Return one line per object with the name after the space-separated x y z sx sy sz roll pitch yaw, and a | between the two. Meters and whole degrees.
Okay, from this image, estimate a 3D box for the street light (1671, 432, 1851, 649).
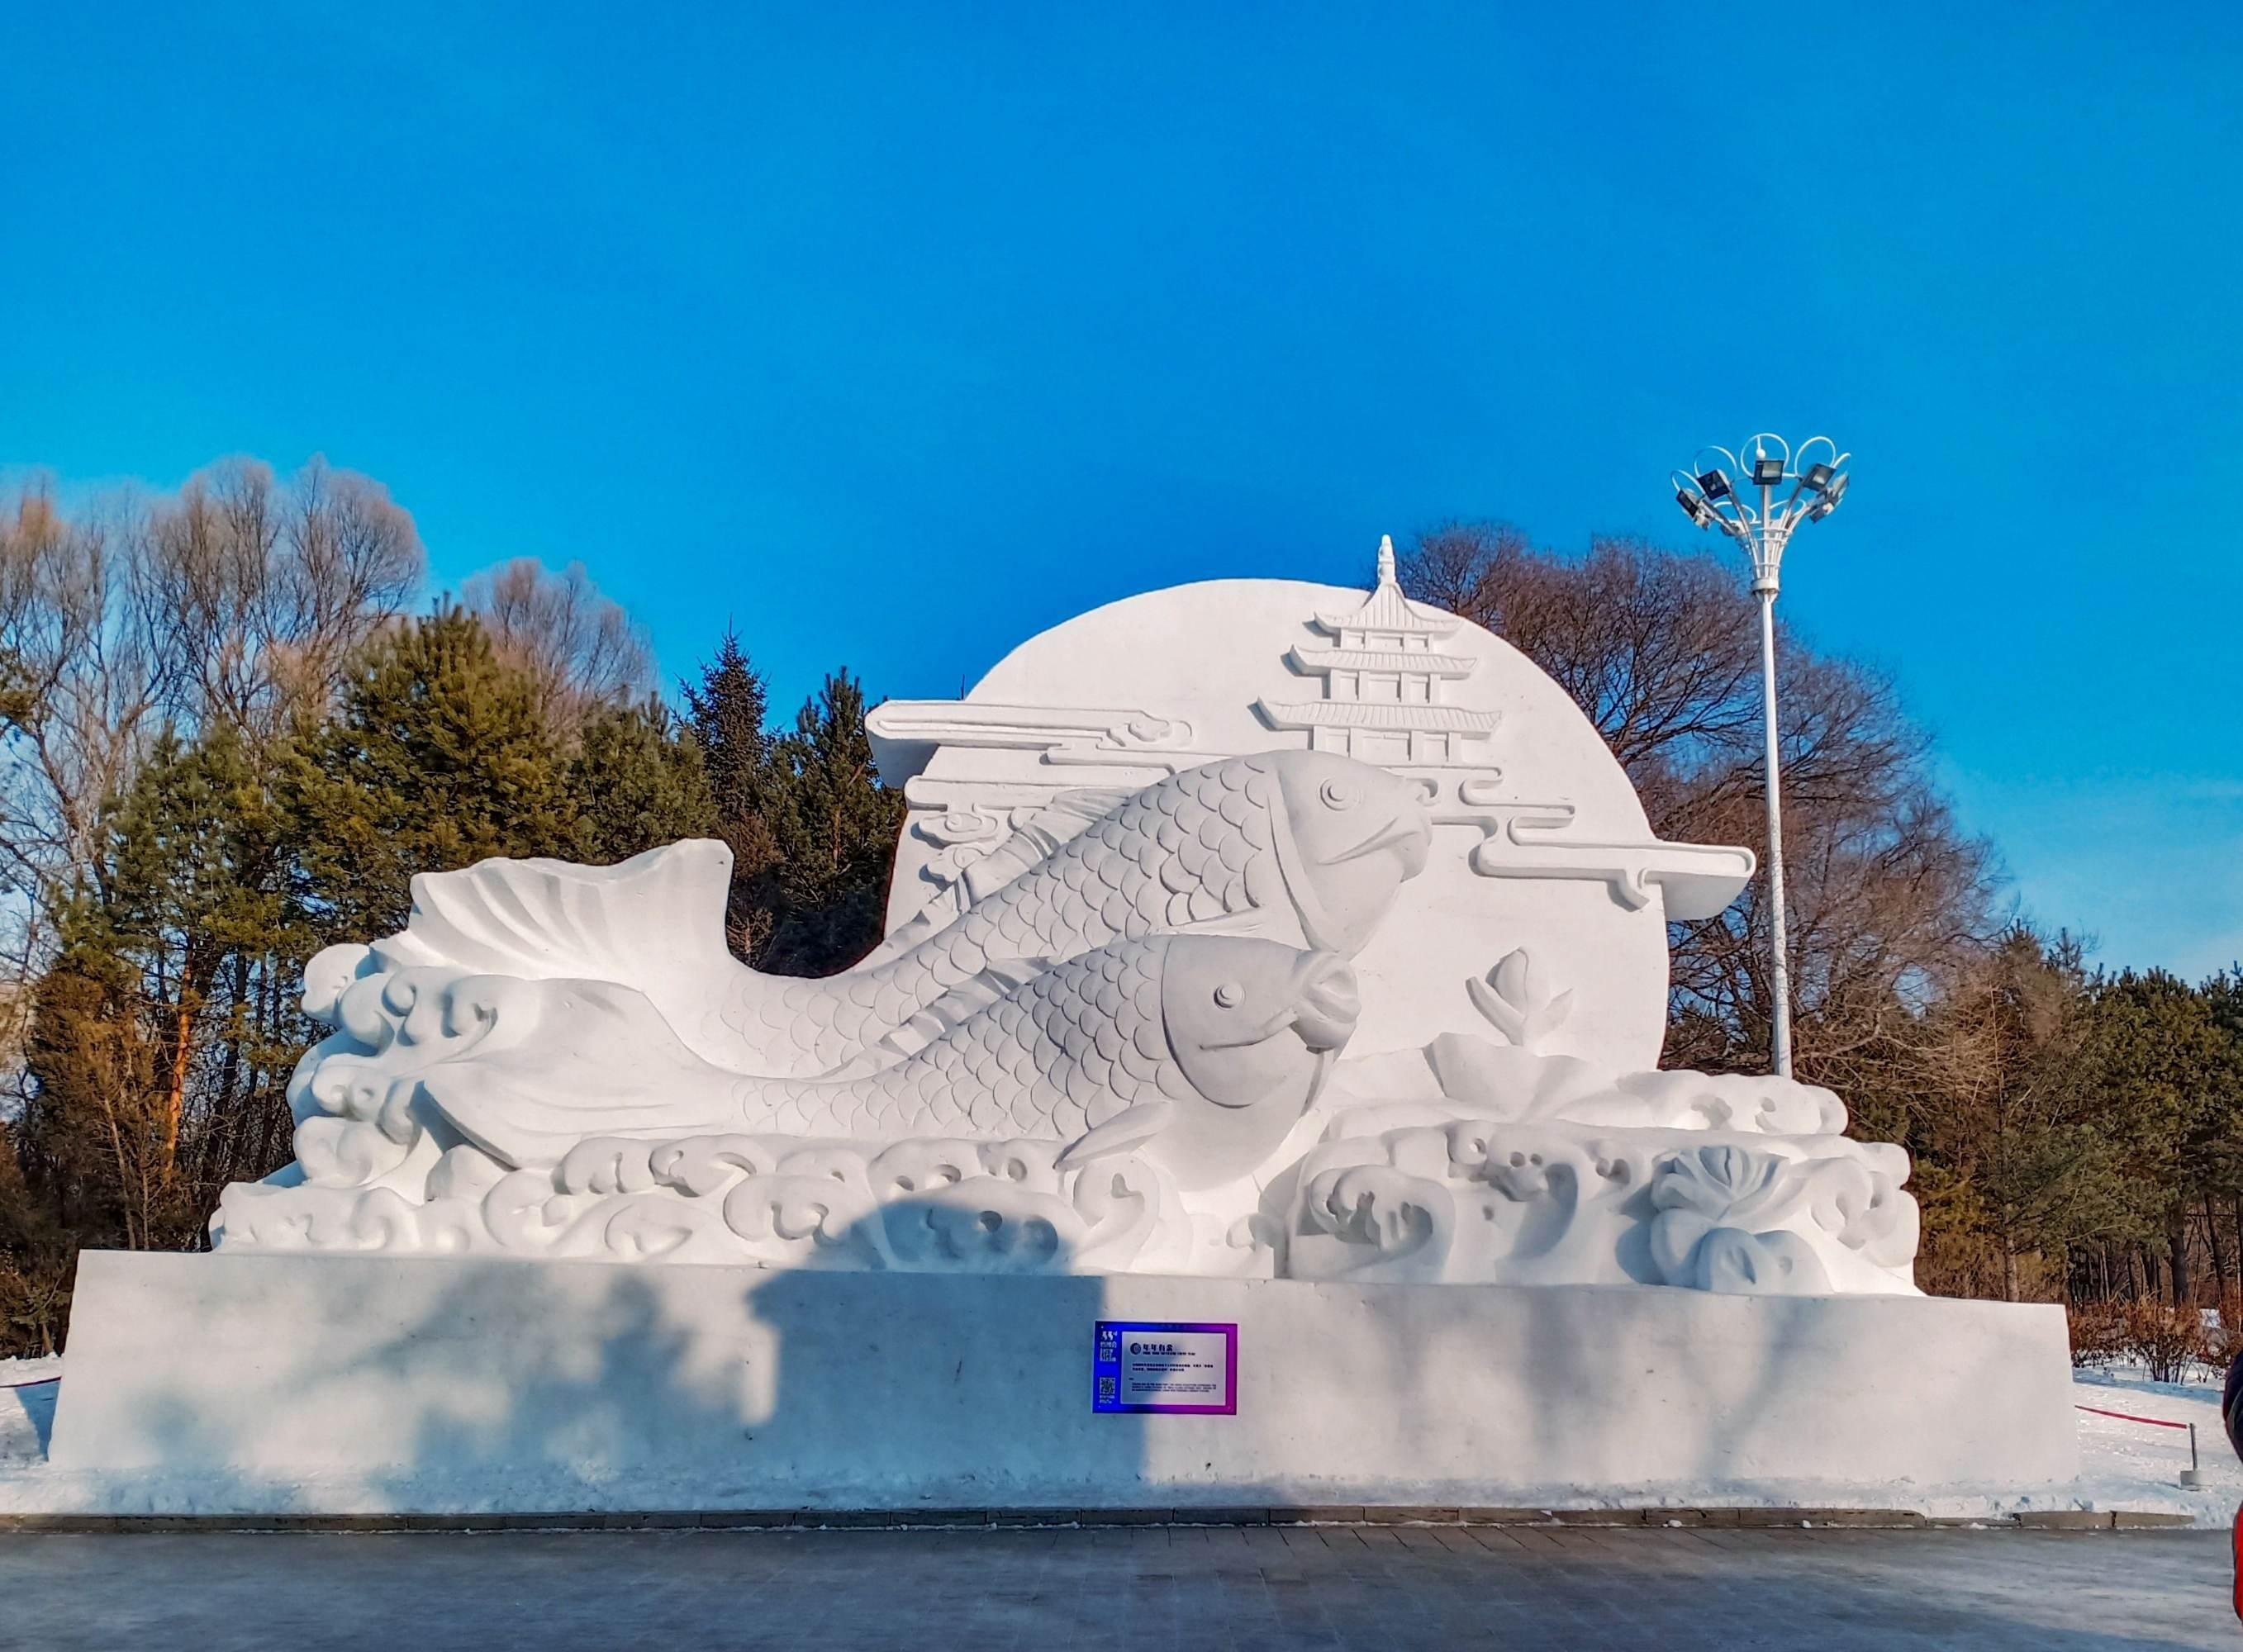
4.894 -2.087 21.501 1.216 1.478 1.271 1 23 10 | street light
